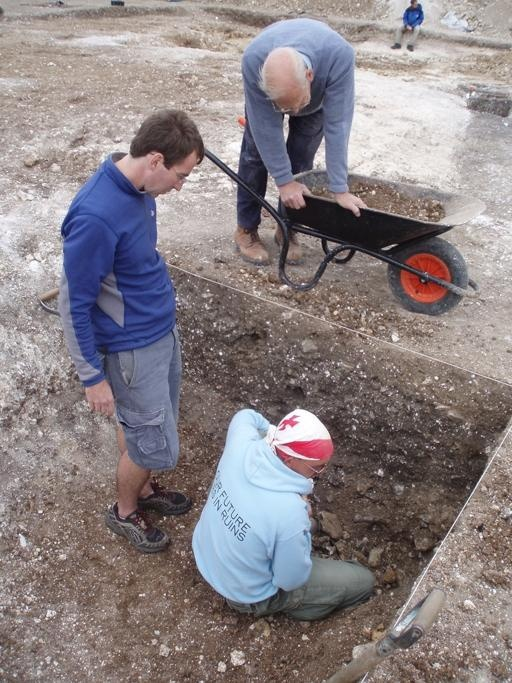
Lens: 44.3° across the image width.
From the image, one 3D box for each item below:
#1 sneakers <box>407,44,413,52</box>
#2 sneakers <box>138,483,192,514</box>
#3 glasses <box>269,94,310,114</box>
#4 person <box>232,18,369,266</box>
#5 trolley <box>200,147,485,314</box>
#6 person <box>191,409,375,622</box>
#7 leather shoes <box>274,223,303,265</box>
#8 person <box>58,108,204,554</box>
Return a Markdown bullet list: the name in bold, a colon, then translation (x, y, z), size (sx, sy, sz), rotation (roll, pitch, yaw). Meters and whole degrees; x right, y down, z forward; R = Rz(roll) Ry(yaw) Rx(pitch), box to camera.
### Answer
- **sneakers**: translation (3.141, -5.978, 12.789), size (0.069, 0.083, 0.204), rotation (-4, 58, 3)
- **sneakers**: translation (-0.528, 0.906, 3.688), size (0.392, 0.172, 0.125), rotation (5, 51, -7)
- **glasses**: translation (0.168, -1.251, 3.295), size (0.143, 0.064, 0.137), rotation (0, 39, 4)
- **person**: translation (0.258, -1.100, 3.916), size (0.753, 1.620, 1.092), rotation (3, 34, -3)
- **trolley**: translation (0.469, -0.747, 4.148), size (2.006, 0.861, 0.778), rotation (12, 12, 12)
- **person**: translation (0.128, 0.887, 2.961), size (0.854, 1.175, 0.539), rotation (10, 34, 8)
- **leather shoes**: translation (0.262, -0.740, 4.705), size (0.143, 0.165, 0.399), rotation (-13, 41, -7)
- **person**: translation (-0.572, 0.109, 2.999), size (0.563, 2.280, 0.590), rotation (2, 35, -5)
